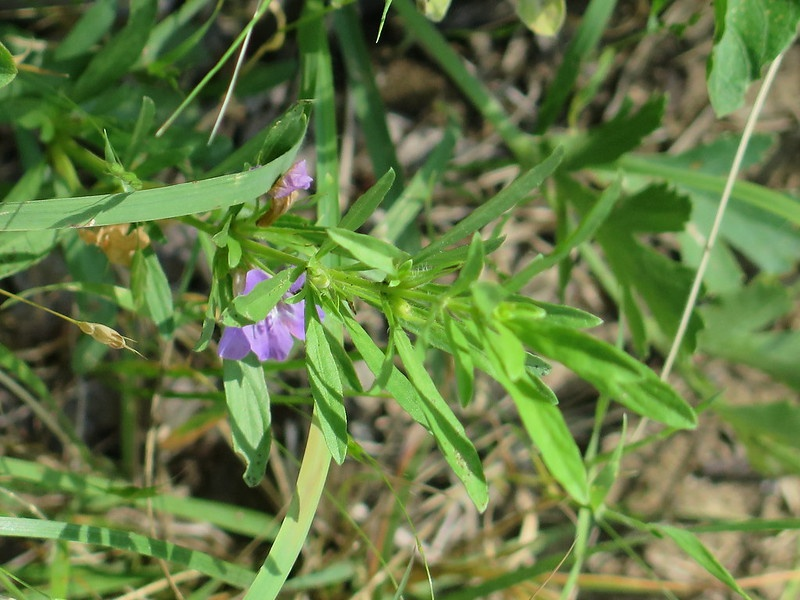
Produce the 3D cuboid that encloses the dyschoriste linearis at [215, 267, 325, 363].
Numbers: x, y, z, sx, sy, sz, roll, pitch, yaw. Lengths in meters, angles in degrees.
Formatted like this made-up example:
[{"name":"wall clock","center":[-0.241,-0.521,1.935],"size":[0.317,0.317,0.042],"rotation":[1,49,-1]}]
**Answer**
[{"name":"dyschoriste linearis","center":[-0.251,0.034,1.478],"size":[0.059,0.163,0.182],"rotation":[27,96,32]}]
